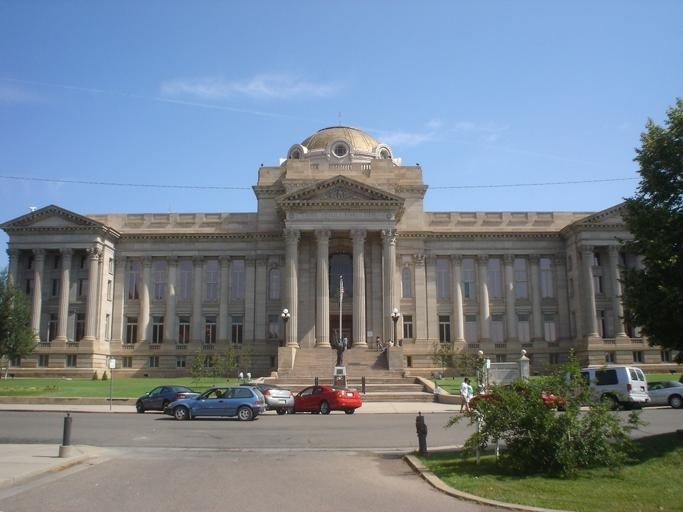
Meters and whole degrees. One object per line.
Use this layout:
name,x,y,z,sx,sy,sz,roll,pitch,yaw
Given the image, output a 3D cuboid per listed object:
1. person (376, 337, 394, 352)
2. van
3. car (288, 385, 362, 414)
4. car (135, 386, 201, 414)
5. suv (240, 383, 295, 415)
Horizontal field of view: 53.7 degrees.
person,3.651,7.646,57.326,1.272,0.658,1.129,0,-6,-8
van,14.114,6.741,34.397,2.763,2.117,2.021,-5,-10,20
car,-1.067,7.846,36.679,3.454,0.903,1.607,-7,-14,35
car,-9.859,7.925,36.978,3.331,0.985,1.584,-4,-10,26
suv,-4.012,7.611,35.793,3.179,0.942,1.478,-5,-9,39
